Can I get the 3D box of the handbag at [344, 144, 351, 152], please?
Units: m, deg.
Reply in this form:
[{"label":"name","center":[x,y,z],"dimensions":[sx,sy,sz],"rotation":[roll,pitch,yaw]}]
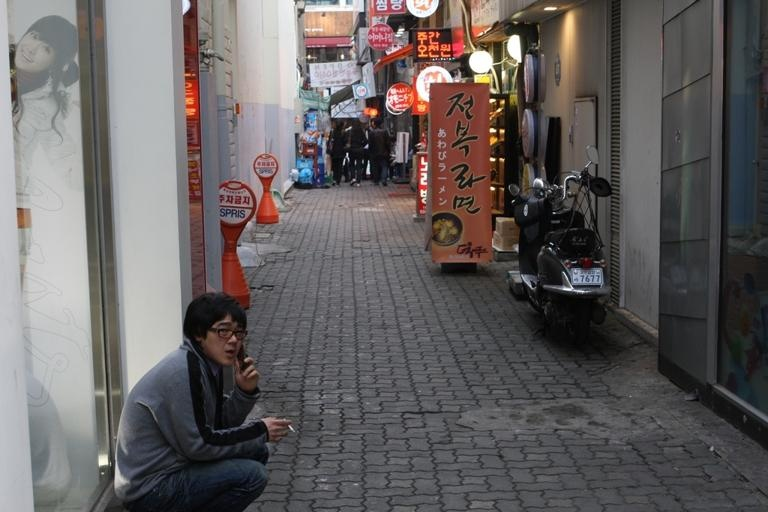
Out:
[{"label":"handbag","center":[-1.625,-4.960,30.620],"dimensions":[0.070,0.281,0.285],"rotation":[5,-1,-44]}]
